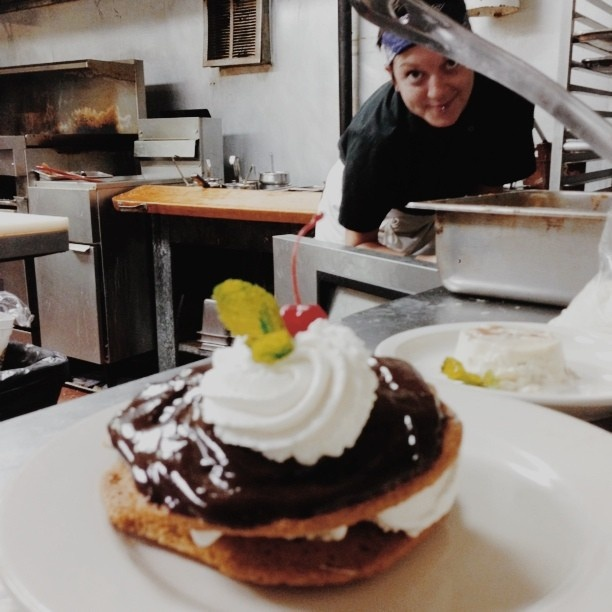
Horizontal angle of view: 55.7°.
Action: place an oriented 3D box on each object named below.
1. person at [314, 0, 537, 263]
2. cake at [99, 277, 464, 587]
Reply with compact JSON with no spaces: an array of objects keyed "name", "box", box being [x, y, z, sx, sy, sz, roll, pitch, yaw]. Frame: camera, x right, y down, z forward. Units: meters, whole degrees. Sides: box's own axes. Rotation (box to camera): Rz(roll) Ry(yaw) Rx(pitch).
[{"name":"person","box":[0.313,-0.557,2.033,0.665,0.772,0.806,16,16,40]},{"name":"cake","box":[0.005,0.084,0.445,0.221,0.129,0.225,9,17,40]}]
